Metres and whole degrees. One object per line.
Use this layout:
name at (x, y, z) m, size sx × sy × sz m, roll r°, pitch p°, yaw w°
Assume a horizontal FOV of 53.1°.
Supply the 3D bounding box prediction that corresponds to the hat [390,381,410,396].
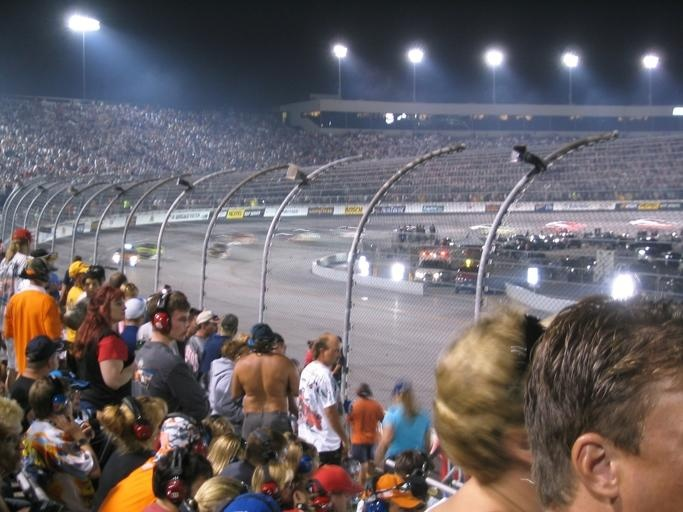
hat at (0.465, 1.025, 5.329) m, size 0.136 × 0.158 × 0.170 m, roll 4°, pitch -8°, yaw -19°

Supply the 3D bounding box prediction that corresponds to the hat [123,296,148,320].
hat at (-1.825, 0.444, 6.031) m, size 0.142 × 0.151 × 0.193 m, roll 23°, pitch 35°, yaw 6°

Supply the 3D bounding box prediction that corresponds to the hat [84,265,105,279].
hat at (-2.544, 0.171, 7.120) m, size 0.129 × 0.177 × 0.174 m, roll 6°, pitch 15°, yaw 42°

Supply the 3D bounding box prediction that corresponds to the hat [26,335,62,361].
hat at (-2.034, 0.653, 4.681) m, size 0.120 × 0.103 × 0.190 m, roll 12°, pitch 28°, yaw 21°

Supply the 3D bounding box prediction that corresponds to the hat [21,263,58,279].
hat at (-2.793, 0.126, 6.245) m, size 0.215 × 0.096 × 0.192 m, roll 9°, pitch 7°, yaw 9°

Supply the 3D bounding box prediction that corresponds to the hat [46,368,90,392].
hat at (-1.833, 0.833, 4.592) m, size 0.204 × 0.104 × 0.314 m, roll 19°, pitch -2°, yaw -34°

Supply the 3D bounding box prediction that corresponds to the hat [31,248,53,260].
hat at (-3.699, -0.034, 8.471) m, size 0.185 × 0.064 × 0.197 m, roll 4°, pitch 7°, yaw 26°

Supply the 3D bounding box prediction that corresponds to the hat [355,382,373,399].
hat at (0.180, 1.140, 5.750) m, size 0.117 × 0.168 × 0.140 m, roll -4°, pitch -11°, yaw 17°

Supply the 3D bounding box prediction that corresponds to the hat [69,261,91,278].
hat at (-3.372, 0.170, 8.794) m, size 0.203 × 0.090 × 0.193 m, roll -13°, pitch 9°, yaw 37°
